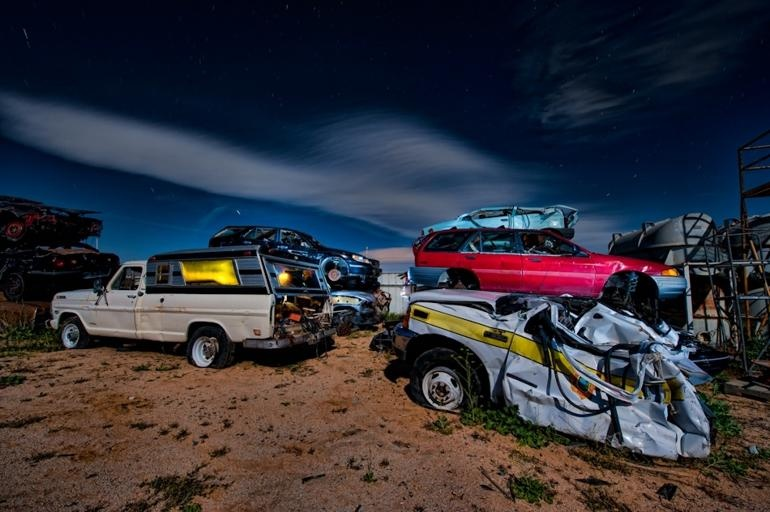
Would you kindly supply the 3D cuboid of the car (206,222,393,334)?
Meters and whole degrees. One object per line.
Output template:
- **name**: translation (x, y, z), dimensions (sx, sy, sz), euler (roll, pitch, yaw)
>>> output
- **car**: translation (-2.415, 0.539, 12.709), dimensions (6.531, 2.439, 3.202), euler (1, -1, 0)

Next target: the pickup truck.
- **pickup truck**: translation (-4.872, 1.055, 9.430), dimensions (6.485, 2.141, 3.175), euler (2, -1, 13)
